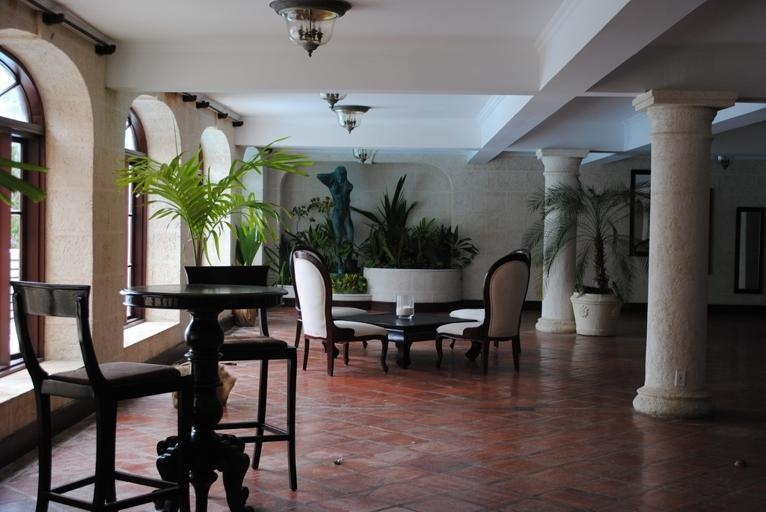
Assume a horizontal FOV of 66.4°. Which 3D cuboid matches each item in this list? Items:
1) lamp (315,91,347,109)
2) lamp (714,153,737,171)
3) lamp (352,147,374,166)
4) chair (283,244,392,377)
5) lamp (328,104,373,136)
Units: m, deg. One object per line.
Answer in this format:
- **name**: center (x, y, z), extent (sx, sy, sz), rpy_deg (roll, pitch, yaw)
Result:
- **lamp**: center (-0.676, -2.142, 7.709), extent (0.414, 0.296, 0.400), rpy_deg (0, -1, -5)
- **lamp**: center (6.866, -1.896, 11.745), extent (0.291, 0.142, 0.405), rpy_deg (5, -12, 10)
- **lamp**: center (-0.387, -2.061, 12.225), extent (0.365, 0.256, 0.356), rpy_deg (-1, -3, 0)
- **chair**: center (-0.547, 0.640, 6.796), extent (1.065, 1.423, 0.545), rpy_deg (0, 2, -1)
- **lamp**: center (-0.474, -2.096, 8.857), extent (0.492, 0.311, 0.476), rpy_deg (-1, -3, -3)
